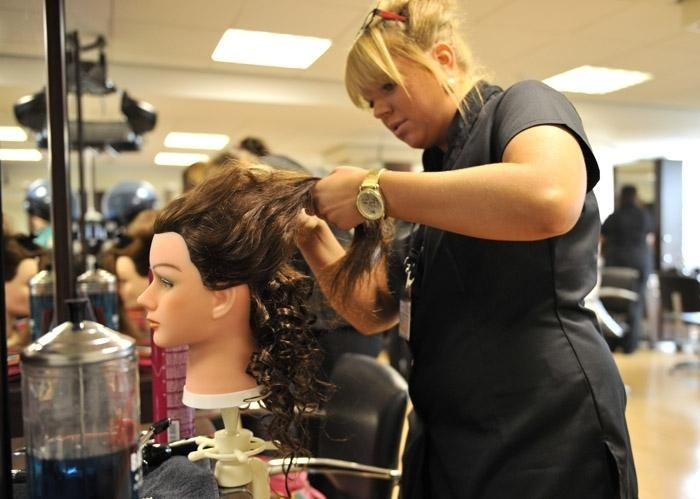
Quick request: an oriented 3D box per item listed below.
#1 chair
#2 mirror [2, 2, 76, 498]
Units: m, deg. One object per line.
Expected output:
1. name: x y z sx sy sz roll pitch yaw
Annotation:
1. chair: 0.023 0.476 1.978 0.368 0.450 0.329 1 -2 -36
2. mirror: -0.599 -0.033 1.381 0.101 1.001 0.331 0 -1 -24
